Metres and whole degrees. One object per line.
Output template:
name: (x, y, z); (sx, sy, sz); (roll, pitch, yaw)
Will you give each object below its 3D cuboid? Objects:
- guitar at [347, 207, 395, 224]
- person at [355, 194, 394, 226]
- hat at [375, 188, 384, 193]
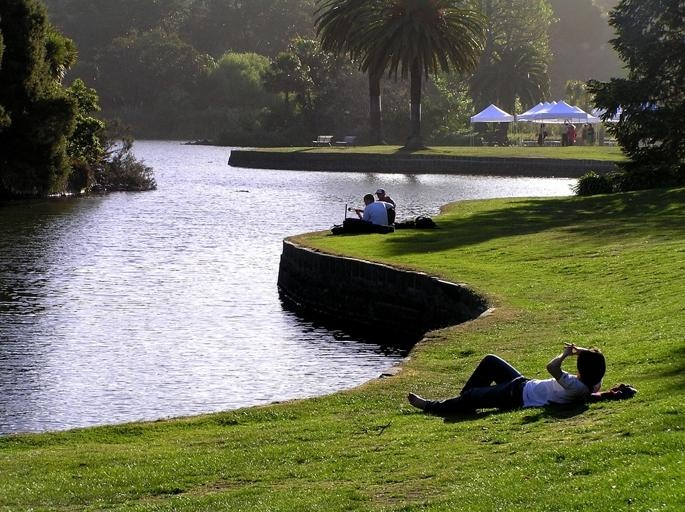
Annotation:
guitar: (0.939, -1.319, 43.065); (0.677, 0.616, 1.079); (-5, 4, -39)
person: (0.878, -1.364, 43.091); (1.307, 1.021, 0.847); (6, 13, 36)
hat: (1.208, -2.052, 43.470); (0.310, 0.160, 0.481); (2, 2, 5)
